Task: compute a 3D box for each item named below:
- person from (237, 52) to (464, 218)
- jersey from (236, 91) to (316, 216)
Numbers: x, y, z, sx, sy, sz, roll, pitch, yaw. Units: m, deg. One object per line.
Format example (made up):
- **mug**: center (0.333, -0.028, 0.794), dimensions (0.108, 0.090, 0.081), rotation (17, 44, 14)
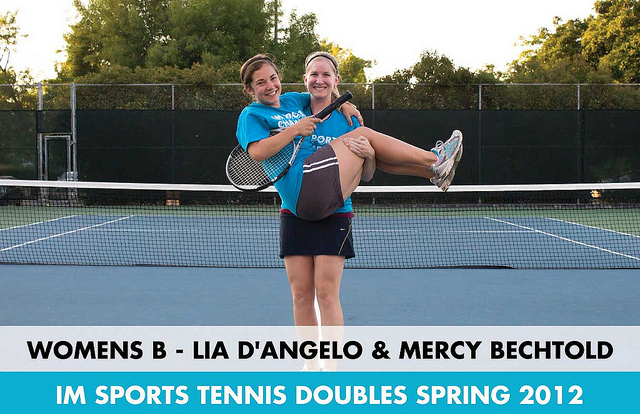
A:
- **person**: center (0.317, -0.787, 6.479), dimensions (2.202, 1.562, 0.910), rotation (-7, 2, -2)
- **jersey**: center (-0.425, -0.531, 6.368), dimensions (0.759, 0.940, 0.475), rotation (-1, 0, -1)
